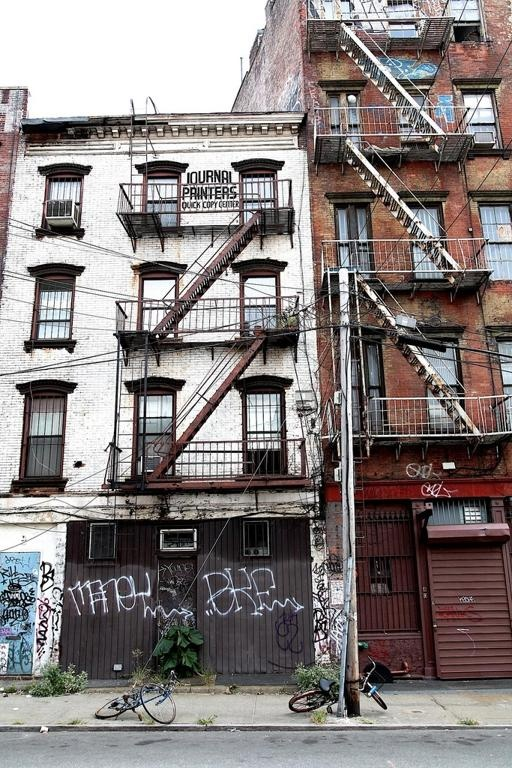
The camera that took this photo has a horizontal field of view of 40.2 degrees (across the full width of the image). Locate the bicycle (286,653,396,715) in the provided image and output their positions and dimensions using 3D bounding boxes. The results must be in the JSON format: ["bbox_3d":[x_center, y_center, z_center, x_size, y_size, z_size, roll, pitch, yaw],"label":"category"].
[{"bbox_3d":[1.404,4.895,11.256,1.882,0.696,1.037,12,-24,-31],"label":"bicycle"}]

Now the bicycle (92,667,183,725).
[{"bbox_3d":[-1.748,4.815,10.511,1.326,0.696,0.799,-26,-3,22],"label":"bicycle"}]
